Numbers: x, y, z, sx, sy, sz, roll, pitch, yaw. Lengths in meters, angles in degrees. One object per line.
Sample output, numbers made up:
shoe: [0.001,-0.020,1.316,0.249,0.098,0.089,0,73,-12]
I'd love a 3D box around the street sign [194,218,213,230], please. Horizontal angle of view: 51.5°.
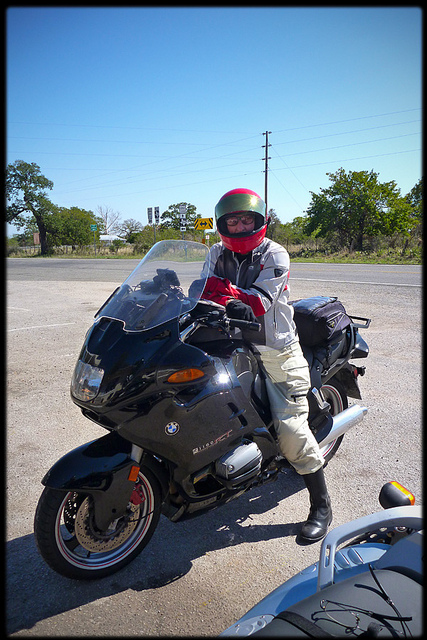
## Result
street sign: [-0.593,-5.548,25.371,0.914,0.616,0.759,0,11,0]

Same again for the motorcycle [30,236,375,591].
motorcycle: [0.122,0.430,2.682,2.324,1.547,0.671,-11,15,-38]

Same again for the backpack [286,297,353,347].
backpack: [0.828,0.059,3.256,0.443,0.202,0.324,-18,30,-10]

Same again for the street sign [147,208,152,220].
street sign: [-5.295,-8.807,36.751,0.189,0.754,0.257,3,11,16]

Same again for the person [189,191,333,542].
person: [0.282,0.287,2.699,0.745,2.182,0.766,3,11,33]

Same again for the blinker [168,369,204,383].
blinker: [-0.134,0.263,2.072,0.237,0.051,0.080,-2,2,-29]

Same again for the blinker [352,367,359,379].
blinker: [1.133,0.428,3.578,0.057,0.089,0.026,3,-11,-35]

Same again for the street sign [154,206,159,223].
street sign: [-4.700,-8.673,36.523,0.172,1.096,0.346,-5,11,-23]
